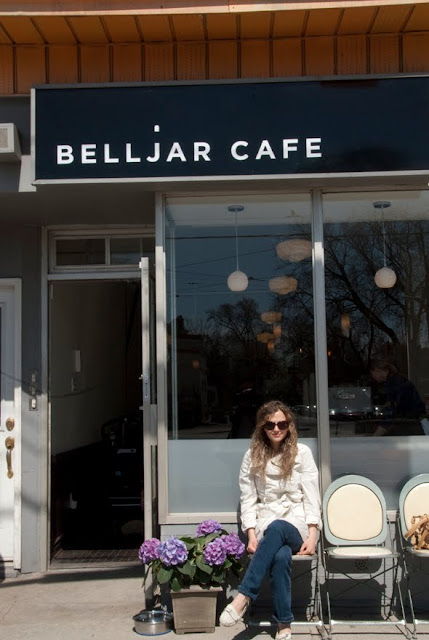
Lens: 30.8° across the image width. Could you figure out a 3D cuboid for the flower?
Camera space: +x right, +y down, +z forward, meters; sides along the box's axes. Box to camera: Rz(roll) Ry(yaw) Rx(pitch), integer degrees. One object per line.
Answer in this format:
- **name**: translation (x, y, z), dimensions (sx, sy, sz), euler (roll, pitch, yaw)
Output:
- **flower**: translation (-0.124, 1.326, 4.368), dimensions (0.589, 0.346, 0.270), euler (-5, -10, -5)
